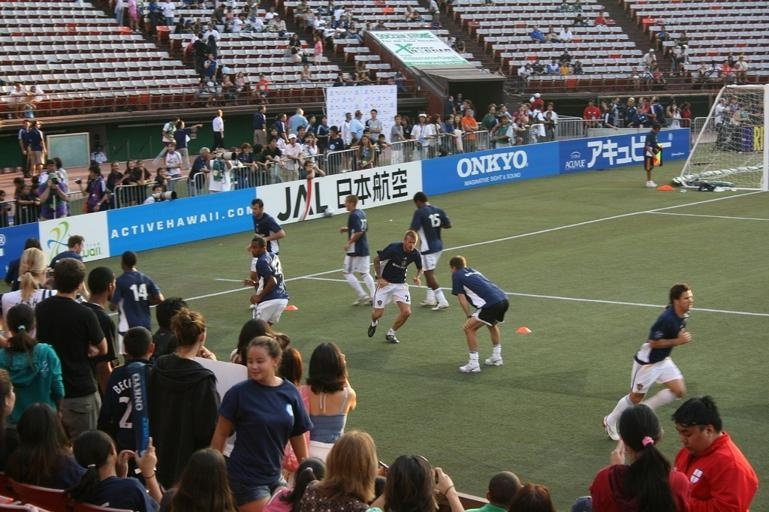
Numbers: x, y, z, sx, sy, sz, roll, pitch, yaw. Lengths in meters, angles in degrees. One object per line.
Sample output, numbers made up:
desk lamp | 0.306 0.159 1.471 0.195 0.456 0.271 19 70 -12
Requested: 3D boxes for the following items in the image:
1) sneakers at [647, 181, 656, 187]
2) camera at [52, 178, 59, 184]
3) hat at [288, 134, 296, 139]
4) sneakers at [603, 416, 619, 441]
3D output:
sneakers | 9.032 -2.436 35.820 0.154 0.167 0.402 8 9 41
camera | -8.268 -1.914 26.714 0.192 0.154 0.098 -2 42 3
hat | -2.839 -3.742 32.920 0.242 0.141 0.325 -2 -6 -10
sneakers | 3.493 2.623 16.455 0.163 0.195 0.433 -5 27 -10
